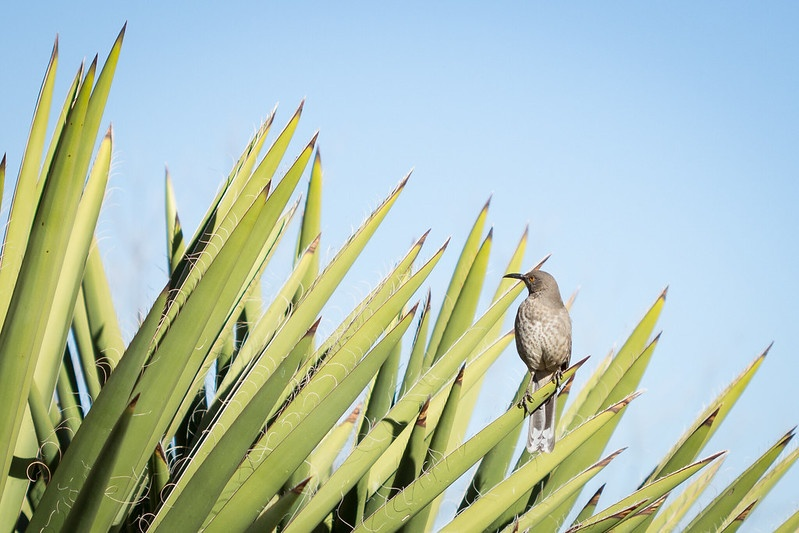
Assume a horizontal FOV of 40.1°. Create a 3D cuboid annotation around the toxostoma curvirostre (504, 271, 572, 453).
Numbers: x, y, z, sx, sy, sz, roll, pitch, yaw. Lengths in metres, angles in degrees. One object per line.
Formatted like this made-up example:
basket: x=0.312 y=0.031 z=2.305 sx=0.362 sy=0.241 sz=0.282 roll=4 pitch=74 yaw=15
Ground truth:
toxostoma curvirostre: x=0.553 y=0.401 z=4.355 sx=0.161 sy=0.715 sz=0.372 roll=-4 pitch=19 yaw=5
